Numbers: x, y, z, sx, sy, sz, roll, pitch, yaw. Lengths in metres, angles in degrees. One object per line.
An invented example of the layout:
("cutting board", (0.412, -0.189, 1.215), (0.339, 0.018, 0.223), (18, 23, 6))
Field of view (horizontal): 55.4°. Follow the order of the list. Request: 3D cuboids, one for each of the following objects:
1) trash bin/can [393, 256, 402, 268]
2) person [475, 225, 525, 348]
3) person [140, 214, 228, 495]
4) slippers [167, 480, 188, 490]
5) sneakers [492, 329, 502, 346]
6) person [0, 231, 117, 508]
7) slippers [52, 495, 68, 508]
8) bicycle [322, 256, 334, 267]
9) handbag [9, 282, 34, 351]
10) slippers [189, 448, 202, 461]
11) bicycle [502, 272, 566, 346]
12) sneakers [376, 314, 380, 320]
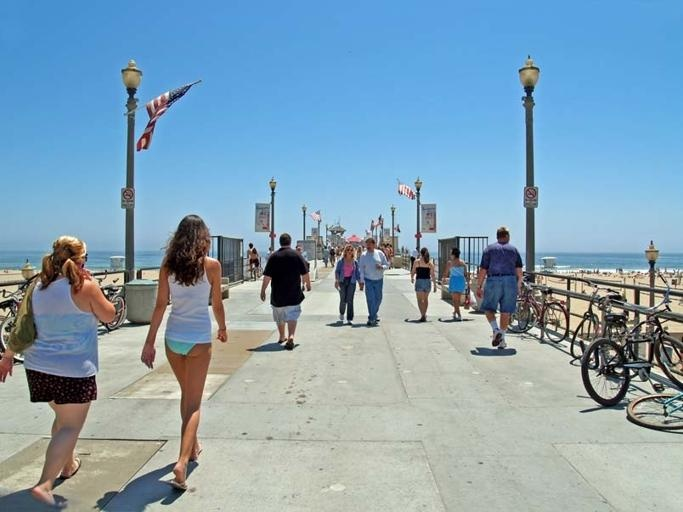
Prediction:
("trash bin/can", (3.935, 0.475, 45.669), (0.632, 0.814, 0.694), (1, -5, -7))
("person", (2.757, 0.561, 11.330), (0.728, 2.034, 0.853), (1, 6, 15))
("person", (-1.568, 0.874, 6.420), (0.632, 2.511, 1.005), (2, 6, 23))
("slippers", (-1.509, 2.119, 5.981), (0.075, 0.094, 0.201), (-25, -24, -5))
("sneakers", (2.653, 1.420, 11.111), (0.112, 0.296, 0.118), (1, 17, 3))
("person", (-2.557, 1.001, 5.948), (0.781, 2.291, 0.517), (-5, 7, -42))
("slippers", (-2.529, 2.209, 5.844), (0.119, 0.070, 0.219), (-3, 7, -25))
("bicycle", (-1.052, 0.482, 51.680), (0.600, 0.520, 1.421), (9, -9, -3))
("handbag", (-2.864, 0.611, 5.918), (0.124, 0.496, 0.315), (8, -10, -18))
("slippers", (-1.471, 2.004, 6.526), (0.130, 0.120, 0.321), (8, -19, -8))
("bicycle", (3.974, 1.103, 12.479), (0.648, 0.960, 1.447), (5, 11, -13))
("sneakers", (0.821, 1.417, 14.685), (0.045, 0.117, 0.152), (1, 17, 8))
